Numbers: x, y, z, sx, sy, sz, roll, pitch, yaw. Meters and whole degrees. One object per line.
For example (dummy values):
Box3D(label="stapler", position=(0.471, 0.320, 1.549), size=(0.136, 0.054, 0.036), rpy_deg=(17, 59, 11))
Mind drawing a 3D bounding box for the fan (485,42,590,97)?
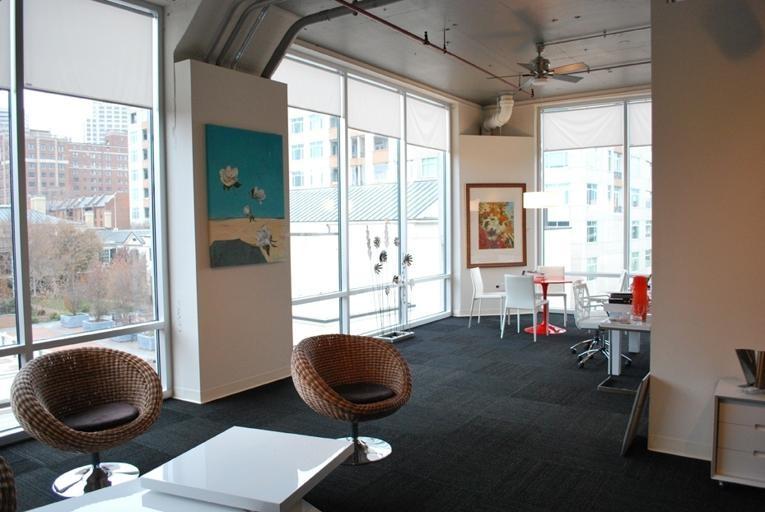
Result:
Box3D(label="fan", position=(2.419, -2.981, 7.865), size=(1.262, 0.494, 1.246), rpy_deg=(-1, 3, 11))

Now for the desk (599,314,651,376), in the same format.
Box3D(label="desk", position=(3.288, 1.235, 6.971), size=(0.541, 0.465, 0.995), rpy_deg=(0, 3, 21))
